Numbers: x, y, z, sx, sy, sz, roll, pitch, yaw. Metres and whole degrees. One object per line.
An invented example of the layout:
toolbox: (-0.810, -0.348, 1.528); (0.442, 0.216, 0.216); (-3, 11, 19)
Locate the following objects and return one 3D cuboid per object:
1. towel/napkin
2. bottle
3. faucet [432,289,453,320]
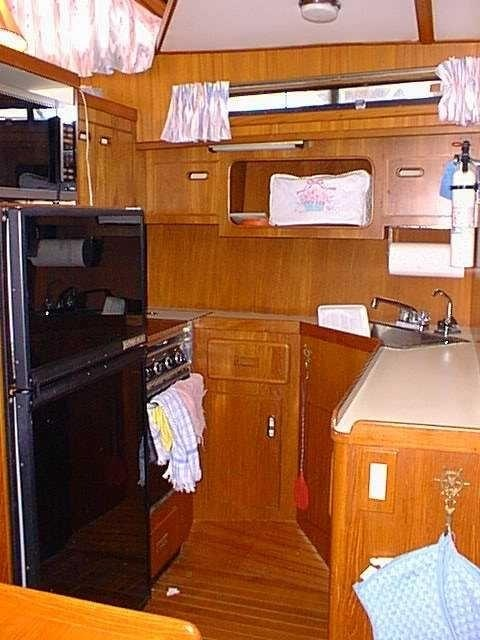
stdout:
towel/napkin: (-0.294, 0.431, 2.020); (0.120, 0.400, 0.321); (1, 12, 24)
bottle: (0.685, -0.344, 1.593); (0.081, 0.361, 0.304); (3, 6, 22)
faucet: (0.970, -0.069, 2.501); (0.102, 0.144, 0.395); (3, 6, 22)
